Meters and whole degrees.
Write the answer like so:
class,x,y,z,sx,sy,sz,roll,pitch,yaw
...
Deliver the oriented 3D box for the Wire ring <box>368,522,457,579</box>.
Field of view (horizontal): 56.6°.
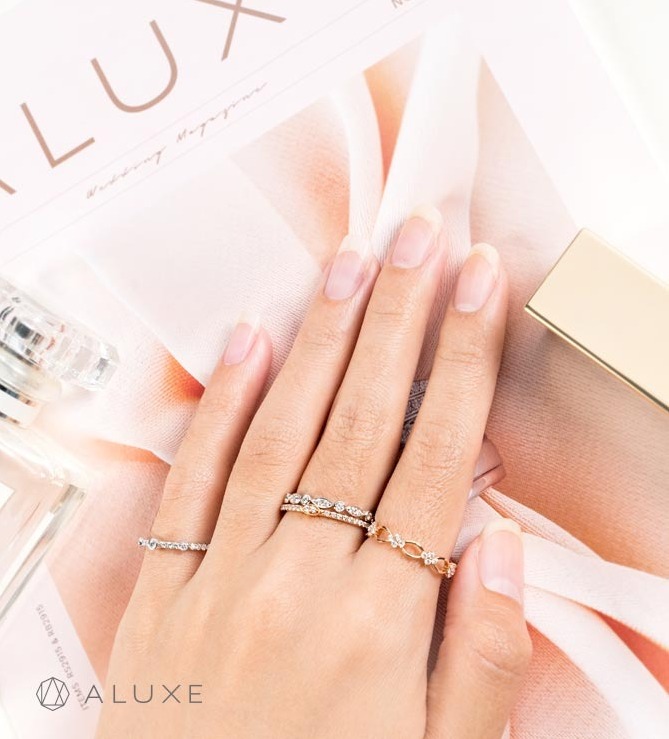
class,x,y,z,sx,sy,sz,roll,pitch,yaw
Wire ring,0.069,0.164,0.561,0.074,0.017,0.020,28,79,10
